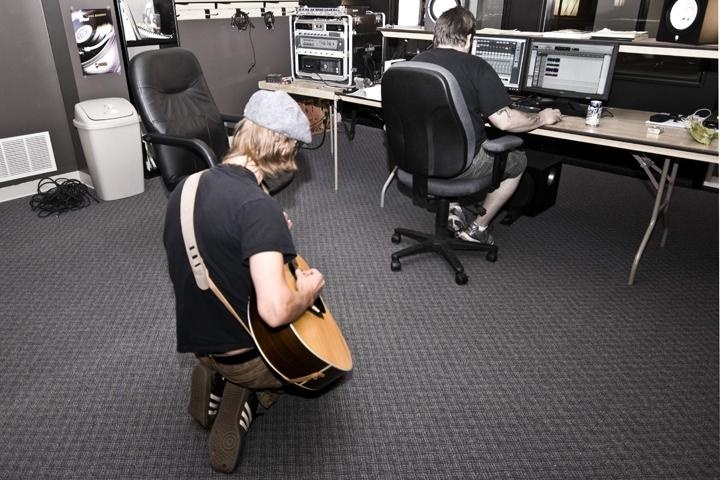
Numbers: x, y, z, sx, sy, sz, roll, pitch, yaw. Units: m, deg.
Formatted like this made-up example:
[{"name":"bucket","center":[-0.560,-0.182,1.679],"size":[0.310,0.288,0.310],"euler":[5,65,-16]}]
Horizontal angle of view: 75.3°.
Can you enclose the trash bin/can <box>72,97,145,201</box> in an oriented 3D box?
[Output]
[{"name":"trash bin/can","center":[-2.188,-0.801,4.069],"size":[0.502,0.879,0.534],"euler":[26,35,34]}]

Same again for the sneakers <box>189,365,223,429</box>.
[{"name":"sneakers","center":[-0.768,0.741,2.344],"size":[0.123,0.397,0.149],"euler":[13,14,34]}]

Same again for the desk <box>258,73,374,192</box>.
[{"name":"desk","center":[-0.502,-1.153,4.530],"size":[0.980,0.660,0.557],"euler":[3,19,-12]}]

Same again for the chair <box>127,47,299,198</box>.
[{"name":"chair","center":[-0.955,-0.602,3.227],"size":[0.954,1.196,0.823],"euler":[8,28,4]}]

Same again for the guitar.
[{"name":"guitar","center":[-0.278,0.288,2.079],"size":[0.165,0.700,0.395],"euler":[-32,-5,18]}]

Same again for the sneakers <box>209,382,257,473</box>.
[{"name":"sneakers","center":[-0.588,0.848,2.289],"size":[0.147,0.191,0.474],"euler":[9,60,9]}]

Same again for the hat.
[{"name":"hat","center":[-0.360,-0.517,1.990],"size":[0.264,0.214,0.155],"euler":[-8,29,-11]}]

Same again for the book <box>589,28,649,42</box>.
[{"name":"book","center":[1.959,-1.542,3.517],"size":[0.411,0.052,0.333],"euler":[10,32,19]}]

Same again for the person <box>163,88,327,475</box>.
[{"name":"person","center":[-0.484,0.246,2.075],"size":[0.738,1.611,0.564],"euler":[-17,32,-27]}]

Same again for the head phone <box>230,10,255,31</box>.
[{"name":"head phone","center":[-1.332,-2.464,5.257],"size":[0.142,0.216,0.195],"euler":[23,12,8]}]

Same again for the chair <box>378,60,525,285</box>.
[{"name":"chair","center":[0.600,-0.531,3.362],"size":[0.842,1.500,0.906],"euler":[-23,33,-36]}]

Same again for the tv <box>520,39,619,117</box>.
[{"name":"tv","center":[1.593,-1.258,3.586],"size":[0.569,0.437,0.302],"euler":[25,54,35]}]
